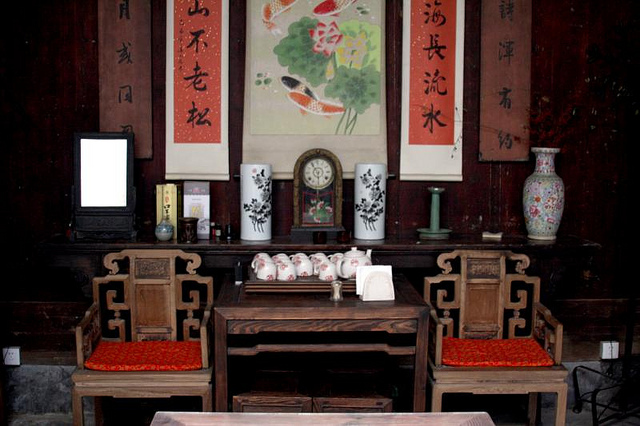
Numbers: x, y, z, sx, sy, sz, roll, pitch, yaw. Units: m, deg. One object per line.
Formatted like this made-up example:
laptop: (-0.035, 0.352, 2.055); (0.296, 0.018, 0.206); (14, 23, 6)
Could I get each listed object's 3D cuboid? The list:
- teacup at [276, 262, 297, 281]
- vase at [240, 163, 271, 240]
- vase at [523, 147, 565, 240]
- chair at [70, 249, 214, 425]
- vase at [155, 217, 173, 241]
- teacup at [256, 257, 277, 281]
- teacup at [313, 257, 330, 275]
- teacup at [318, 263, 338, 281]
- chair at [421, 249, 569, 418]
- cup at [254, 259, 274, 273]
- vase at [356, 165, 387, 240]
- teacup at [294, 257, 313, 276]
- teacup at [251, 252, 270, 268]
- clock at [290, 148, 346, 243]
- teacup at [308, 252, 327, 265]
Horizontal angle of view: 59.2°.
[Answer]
teacup: (-0.221, 0.384, 3.699); (0.106, 0.087, 0.110); (2, 2, 28)
vase: (-0.457, -0.074, 4.055); (0.207, 0.539, 0.114); (0, 1, -12)
vase: (1.629, -0.137, 4.139); (0.274, 0.670, 0.128); (0, 1, 19)
chair: (-1.145, 0.797, 3.739); (0.861, 1.083, 0.540); (0, 1, -12)
vase: (-1.070, 0.136, 3.995); (0.122, 0.167, 0.127); (1, -2, 6)
teacup: (-0.346, 0.371, 3.735); (0.139, 0.147, 0.109); (0, 0, 21)
teacup: (0.011, 0.353, 3.730); (0.108, 0.107, 0.109); (1, -2, 7)
teacup: (0.052, 0.393, 3.722); (0.104, 0.083, 0.107); (2, 2, 9)
chair: (1.147, 0.787, 3.846); (0.865, 1.052, 0.463); (0, 1, 0)
cup: (-0.380, 0.346, 3.743); (0.090, 0.092, 0.094); (2, 2, 0)
vase: (0.369, -0.072, 4.093); (0.207, 0.538, 0.091); (0, 1, -4)
teacup: (-0.107, 0.365, 3.767); (0.107, 0.108, 0.110); (0, -1, 4)
teacup: (-0.401, 0.321, 3.815); (0.097, 0.100, 0.099); (1, 3, -19)
clock: (-0.014, -0.112, 4.163); (0.394, 0.686, 0.234); (-1, -18, 3)
teacup: (-0.029, 0.314, 3.853); (0.080, 0.057, 0.064); (0, 3, 27)
